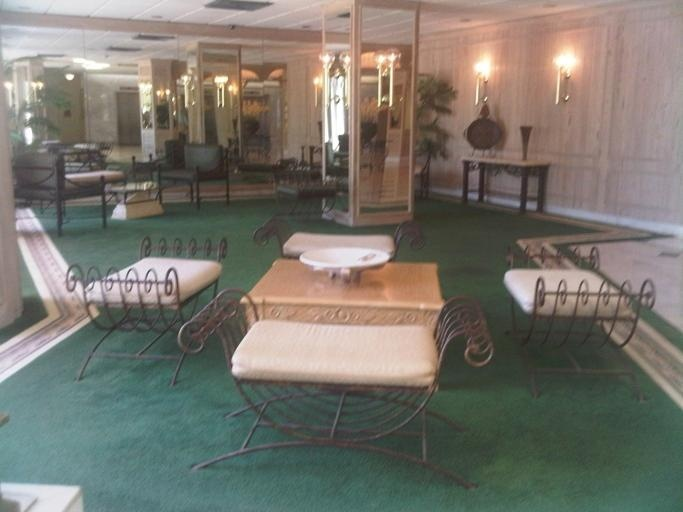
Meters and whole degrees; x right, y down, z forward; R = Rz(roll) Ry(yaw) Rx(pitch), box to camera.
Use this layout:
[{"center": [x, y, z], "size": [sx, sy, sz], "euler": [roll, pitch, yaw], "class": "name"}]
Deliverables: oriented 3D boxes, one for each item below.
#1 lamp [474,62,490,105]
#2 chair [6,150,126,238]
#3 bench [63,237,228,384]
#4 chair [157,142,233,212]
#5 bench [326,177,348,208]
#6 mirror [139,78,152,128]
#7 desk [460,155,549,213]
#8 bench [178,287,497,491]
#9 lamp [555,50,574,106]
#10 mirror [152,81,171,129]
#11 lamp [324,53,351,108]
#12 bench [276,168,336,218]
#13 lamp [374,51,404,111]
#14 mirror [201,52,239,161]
[{"center": [2.630, -3.231, 9.273], "size": [0.138, 0.813, 0.338], "euler": [-8, 19, -20], "class": "lamp"}, {"center": [-3.611, -0.925, 6.878], "size": [0.796, 0.850, 1.067], "euler": [10, 18, 39], "class": "chair"}, {"center": [-1.367, 0.407, 3.454], "size": [0.395, 0.435, 0.863], "euler": [3, 15, 3], "class": "bench"}, {"center": [-2.628, -1.459, 8.943], "size": [1.185, 1.026, 1.685], "euler": [-5, 18, -12], "class": "chair"}, {"center": [0.003, -0.962, 7.508], "size": [0.384, 0.135, 0.390], "euler": [-25, 31, -10], "class": "bench"}, {"center": [-3.784, -2.883, 9.593], "size": [0.046, 0.855, 0.312], "euler": [16, 21, 25], "class": "mirror"}, {"center": [2.837, -1.260, 8.824], "size": [1.426, 0.817, 0.544], "euler": [16, 9, 39], "class": "desk"}, {"center": [-0.021, 0.624, 2.506], "size": [1.453, 0.731, 0.612], "euler": [1, 7, 4], "class": "bench"}, {"center": [3.510, -2.801, 7.859], "size": [0.106, 0.790, 0.361], "euler": [-7, 18, -17], "class": "lamp"}, {"center": [-3.442, -2.848, 9.548], "size": [0.312, 0.872, 0.047], "euler": [-1, -1, 0], "class": "mirror"}, {"center": [-0.067, -2.565, 7.240], "size": [0.176, 0.714, 0.525], "euler": [-17, 23, -40], "class": "lamp"}, {"center": [-0.571, -0.923, 7.913], "size": [0.682, 0.620, 1.084], "euler": [-3, 21, -13], "class": "bench"}, {"center": [0.699, -2.544, 7.172], "size": [0.464, 0.752, 0.145], "euler": [-11, 19, -27], "class": "lamp"}, {"center": [-2.300, -2.976, 9.515], "size": [0.783, 2.128, 0.142], "euler": [0, 44, -13], "class": "mirror"}]
